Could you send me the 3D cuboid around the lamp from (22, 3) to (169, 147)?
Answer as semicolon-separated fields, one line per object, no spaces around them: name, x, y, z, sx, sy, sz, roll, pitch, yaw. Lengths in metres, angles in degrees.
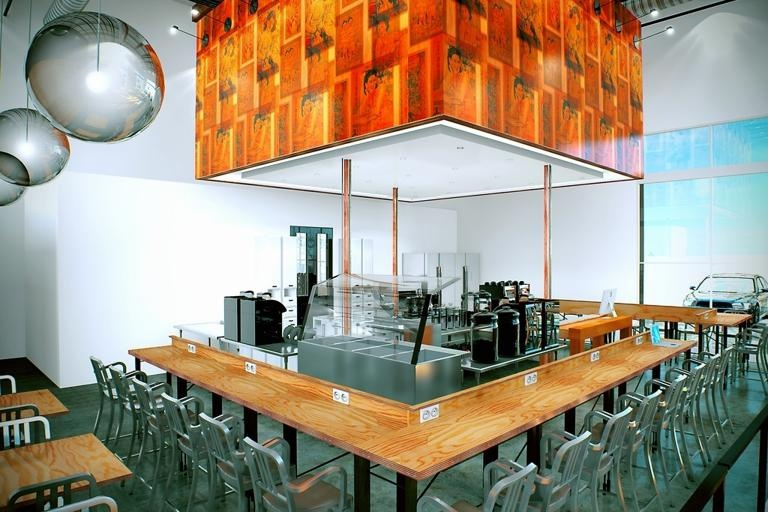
lamp;-1.892;-1.178;3.467;0.793;0.836;0.289;1;1;-29
